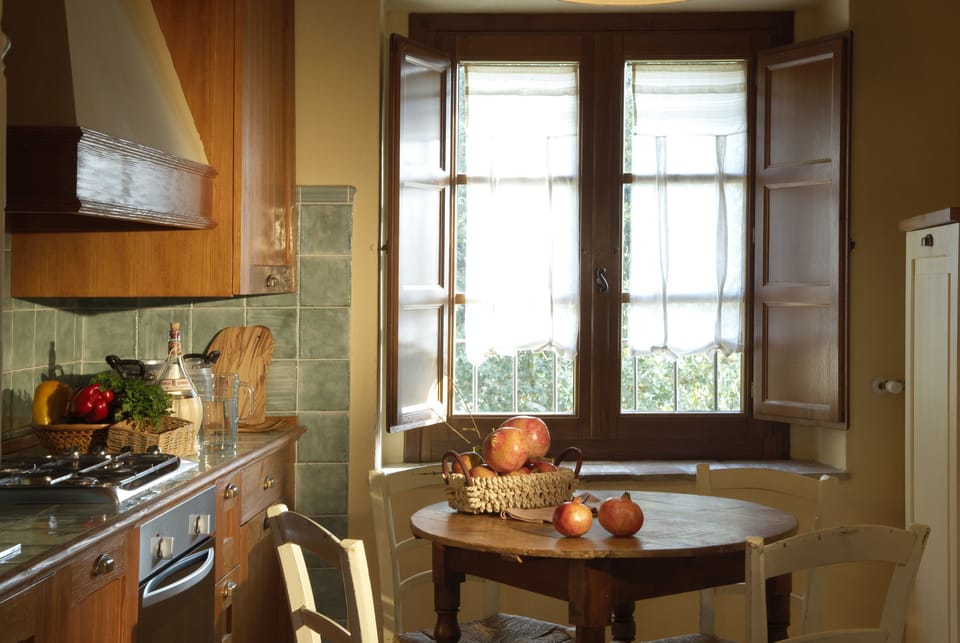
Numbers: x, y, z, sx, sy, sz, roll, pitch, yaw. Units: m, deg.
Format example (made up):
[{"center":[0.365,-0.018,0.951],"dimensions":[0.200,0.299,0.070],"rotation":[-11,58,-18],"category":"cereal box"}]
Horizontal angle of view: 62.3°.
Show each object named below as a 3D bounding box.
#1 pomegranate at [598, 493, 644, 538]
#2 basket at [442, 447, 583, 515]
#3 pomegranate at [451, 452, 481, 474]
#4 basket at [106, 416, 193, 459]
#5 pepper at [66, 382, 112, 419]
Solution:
[{"center":[0.442,0.610,2.470],"dimensions":[0.117,0.130,0.124],"rotation":[-3,0,24],"category":"pomegranate"},{"center":[0.093,0.563,2.735],"dimensions":[0.338,0.143,0.254],"rotation":[2,-5,-18],"category":"basket"},{"center":[-0.046,0.481,2.727],"dimensions":[0.065,0.052,0.091],"rotation":[13,-5,10],"category":"pomegranate"},{"center":[-1.203,0.403,2.889],"dimensions":[0.209,0.091,0.160],"rotation":[1,1,15],"category":"basket"},{"center":[-1.429,0.296,2.911],"dimensions":[0.079,0.106,0.082],"rotation":[32,6,37],"category":"pepper"}]
